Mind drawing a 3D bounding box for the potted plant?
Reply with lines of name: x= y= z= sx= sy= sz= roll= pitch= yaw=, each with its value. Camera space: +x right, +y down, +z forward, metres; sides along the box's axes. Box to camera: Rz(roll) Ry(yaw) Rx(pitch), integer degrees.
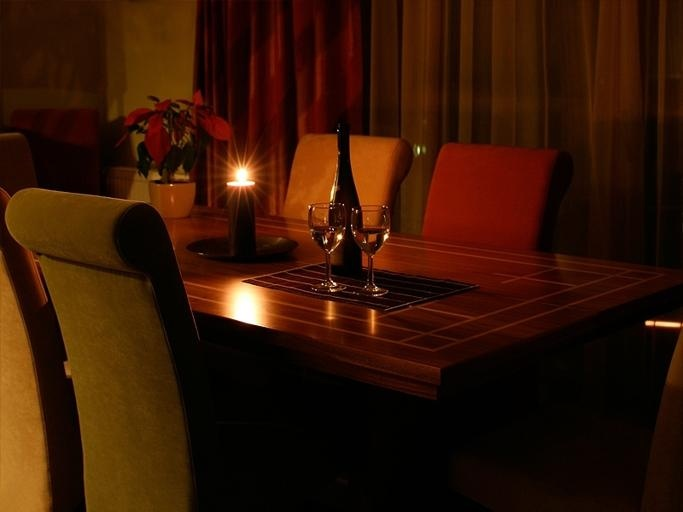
potted plant: x=-0.670 y=-0.365 z=2.346 sx=0.386 sy=0.471 sz=0.478 roll=-3 pitch=-3 yaw=15
